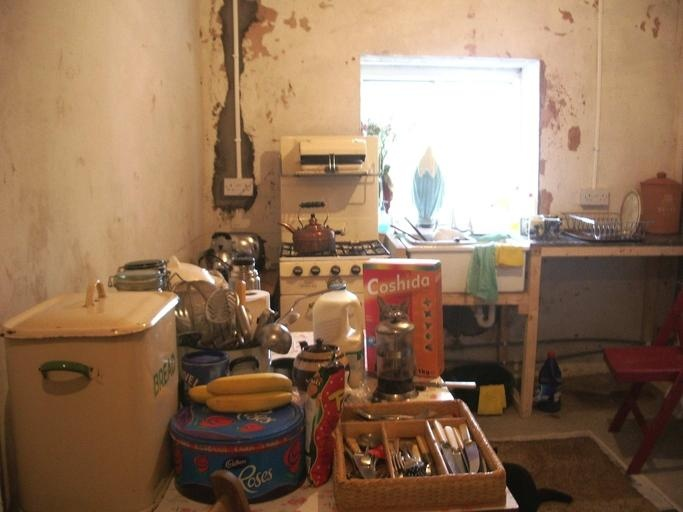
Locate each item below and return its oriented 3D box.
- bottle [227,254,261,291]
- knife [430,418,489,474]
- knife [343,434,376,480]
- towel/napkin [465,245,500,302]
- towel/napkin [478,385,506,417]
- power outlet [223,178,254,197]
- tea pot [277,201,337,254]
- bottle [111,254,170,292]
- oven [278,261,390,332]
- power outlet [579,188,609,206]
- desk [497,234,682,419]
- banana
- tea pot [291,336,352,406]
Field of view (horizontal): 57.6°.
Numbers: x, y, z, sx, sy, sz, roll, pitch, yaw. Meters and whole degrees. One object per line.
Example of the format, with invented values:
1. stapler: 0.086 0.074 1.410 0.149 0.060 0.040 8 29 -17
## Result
1. bottle: -0.471 0.074 2.940 0.162 0.183 0.169 4 9 28
2. knife: 0.333 0.548 1.784 0.070 0.025 0.194 -1 15 -3
3. knife: 0.057 0.570 1.780 0.040 0.042 0.152 0 20 -9
4. towel/napkin: 0.749 0.093 3.377 0.197 0.282 0.083 3 3 19
5. towel/napkin: 0.870 0.846 3.637 0.163 0.173 0.061 1 -5 -5
6. power outlet: -0.656 -0.428 3.952 0.191 0.125 0.055 -5 14 -16
7. tea pot: -0.222 -0.168 3.736 0.374 0.342 0.259 -1 9 -3
8. bottle: -0.687 0.054 2.150 0.168 0.173 0.106 -2 14 -10
9. oven: -0.079 0.134 3.570 0.594 0.575 0.324 -1 2 -4
10. power outlet: 1.670 -0.386 4.118 0.185 0.135 0.105 0 2 4
11. desk: 1.496 0.419 3.826 1.025 0.996 0.401 0 3 -2
12. banana: -0.280 0.382 1.759 0.238 0.128 0.062 -1 13 -9
13. tea pot: -0.059 0.350 1.883 0.160 0.194 0.162 0 -1 0
